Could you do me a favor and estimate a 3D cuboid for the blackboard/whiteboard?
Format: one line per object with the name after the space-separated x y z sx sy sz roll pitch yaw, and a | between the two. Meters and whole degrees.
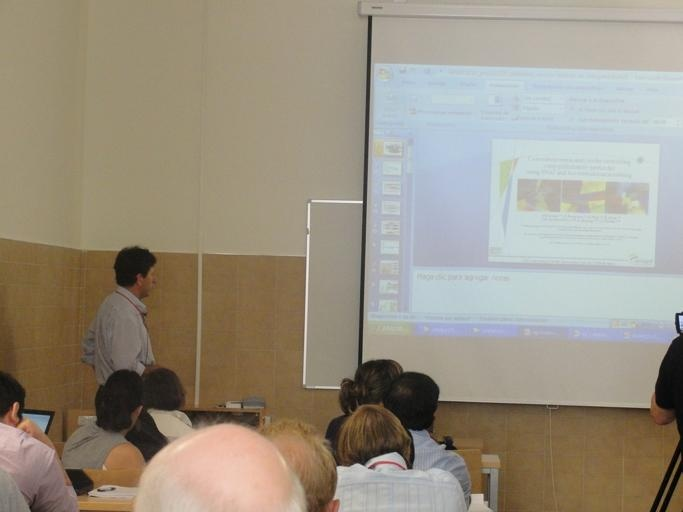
-0.061 0.274 7.797 0.388 1.344 0.115 2 1 -7 | blackboard/whiteboard

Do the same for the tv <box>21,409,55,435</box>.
-1.628 0.873 5.879 0.151 0.164 0.119 10 -13 -42 | tv
